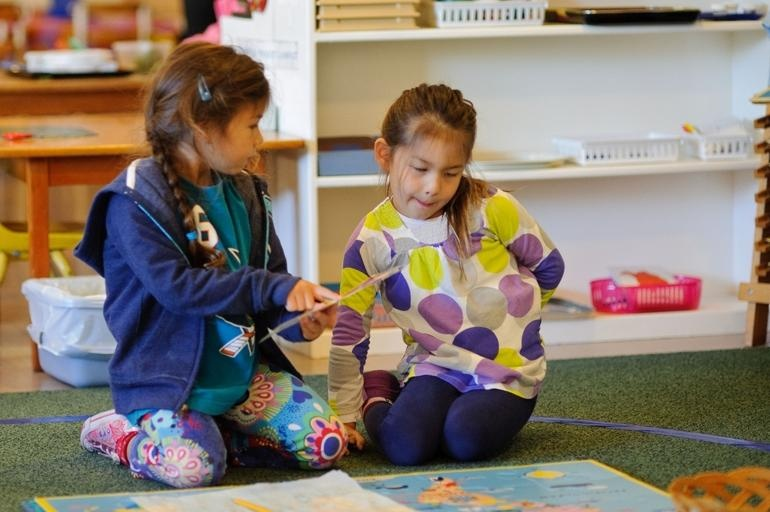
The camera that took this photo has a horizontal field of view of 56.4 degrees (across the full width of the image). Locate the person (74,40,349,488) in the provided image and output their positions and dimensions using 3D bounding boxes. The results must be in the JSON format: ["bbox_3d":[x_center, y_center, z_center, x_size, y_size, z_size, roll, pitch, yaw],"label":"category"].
[{"bbox_3d":[-0.392,0.001,1.525,0.618,0.901,0.331,0,8,7],"label":"person"}]

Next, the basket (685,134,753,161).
[{"bbox_3d":[1.141,-0.374,2.452,0.217,0.092,0.099,2,8,21],"label":"basket"}]

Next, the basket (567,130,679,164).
[{"bbox_3d":[0.780,-0.352,2.412,0.395,0.092,0.174,2,8,20],"label":"basket"}]

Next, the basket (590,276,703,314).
[{"bbox_3d":[0.891,0.139,2.466,0.235,0.068,0.169,-1,1,-5],"label":"basket"}]

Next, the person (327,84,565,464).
[{"bbox_3d":[0.133,0.023,1.600,0.473,0.808,0.352,2,8,20],"label":"person"}]

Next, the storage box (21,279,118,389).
[{"bbox_3d":[-0.916,0.214,2.172,0.352,0.283,0.408,1,-6,-7],"label":"storage box"}]

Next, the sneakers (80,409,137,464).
[{"bbox_3d":[-0.601,0.372,1.567,0.088,0.070,0.201,-10,10,-39],"label":"sneakers"}]
